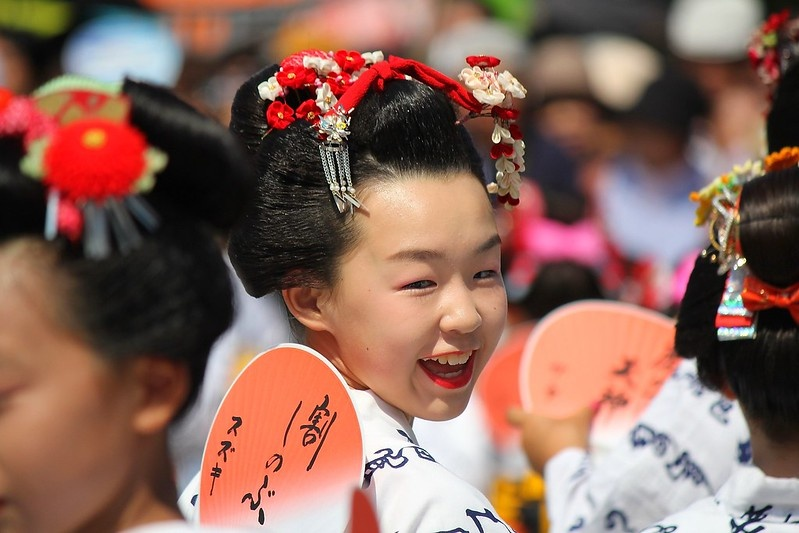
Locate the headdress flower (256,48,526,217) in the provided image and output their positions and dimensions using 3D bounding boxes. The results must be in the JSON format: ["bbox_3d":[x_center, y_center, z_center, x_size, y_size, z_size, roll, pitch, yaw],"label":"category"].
[{"bbox_3d":[-0.001,-0.566,4.659,0.793,0.324,0.726,6,18,-31],"label":"headdress flower"}]
